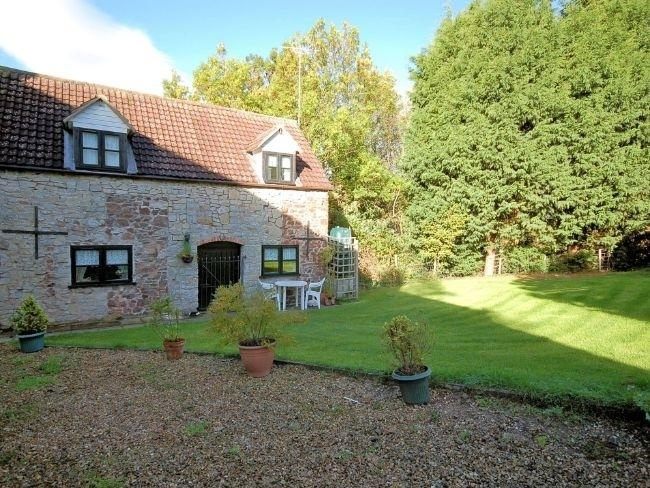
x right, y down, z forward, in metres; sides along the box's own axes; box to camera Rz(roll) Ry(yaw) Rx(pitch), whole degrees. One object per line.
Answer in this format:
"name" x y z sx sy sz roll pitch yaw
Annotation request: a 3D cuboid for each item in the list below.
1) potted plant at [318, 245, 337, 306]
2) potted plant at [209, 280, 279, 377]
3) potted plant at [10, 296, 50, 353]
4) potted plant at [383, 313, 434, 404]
"potted plant" 0.022 1.275 20.688 0.780 2.460 0.890 2 2 -19
"potted plant" -2.102 2.185 12.646 2.424 2.667 2.046 1 -10 -14
"potted plant" -8.340 2.268 13.297 0.787 1.495 0.514 -2 5 -3
"potted plant" 1.911 2.566 10.858 1.032 1.881 1.322 -1 5 9
